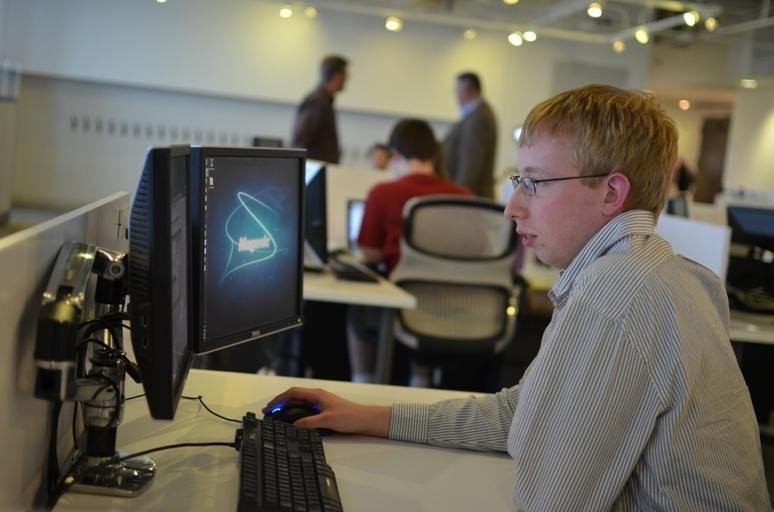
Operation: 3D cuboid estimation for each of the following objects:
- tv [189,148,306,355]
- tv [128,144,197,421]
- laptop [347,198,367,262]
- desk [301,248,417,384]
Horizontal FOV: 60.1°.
[{"bbox_3d":[-0.352,-0.030,1.664,0.062,0.524,0.530,1,2,25],"label":"tv"},{"bbox_3d":[-0.475,0.047,1.409,0.118,0.551,0.229,0,10,-16],"label":"tv"},{"bbox_3d":[-0.178,-0.160,3.699,0.060,0.263,0.263,5,2,-2],"label":"laptop"},{"bbox_3d":[-0.120,0.237,2.940,0.460,0.460,0.476,2,10,-1],"label":"desk"}]
